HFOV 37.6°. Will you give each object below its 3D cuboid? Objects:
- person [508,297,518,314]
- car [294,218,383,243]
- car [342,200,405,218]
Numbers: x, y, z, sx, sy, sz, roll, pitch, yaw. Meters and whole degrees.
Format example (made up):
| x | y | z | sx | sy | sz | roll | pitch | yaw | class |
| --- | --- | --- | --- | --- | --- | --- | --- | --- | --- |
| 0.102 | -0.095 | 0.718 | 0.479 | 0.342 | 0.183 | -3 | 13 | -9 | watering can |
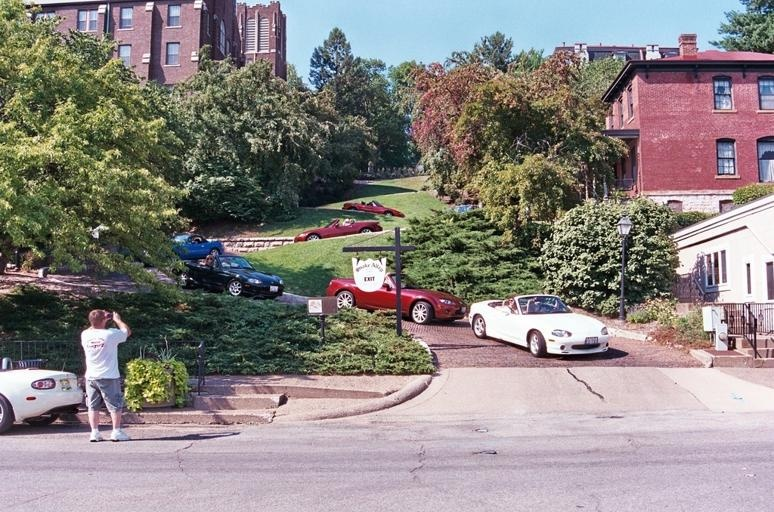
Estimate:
| x | y | z | sx | sy | sz | roll | pitch | yaw | class |
| --- | --- | --- | --- | --- | --- | --- | --- | --- | --- |
| 4.945 | 1.933 | 44.443 | 0.295 | 0.622 | 0.763 | -1 | -3 | 1 | person |
| -2.675 | -1.543 | 65.110 | 4.642 | 1.347 | 2.873 | 1 | -3 | -34 | car |
| -0.920 | -3.065 | 74.534 | 4.200 | 1.286 | 2.369 | -4 | -4 | 44 | car |
